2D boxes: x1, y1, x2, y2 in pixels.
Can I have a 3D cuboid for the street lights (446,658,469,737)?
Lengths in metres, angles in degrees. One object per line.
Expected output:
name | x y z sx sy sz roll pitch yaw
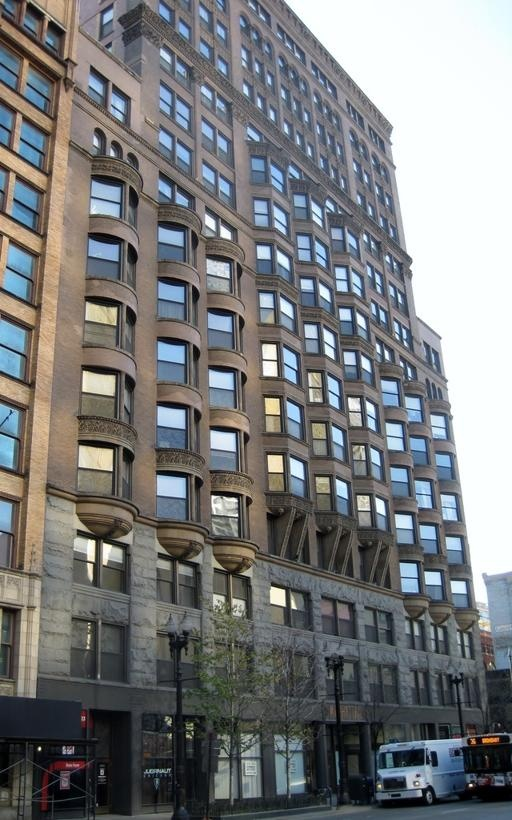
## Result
street lights | 12.795 18.296 49.419 0.947 2.432 0.972 0 -24 -5

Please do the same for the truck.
truck | 6.694 14.623 31.630 1.375 1.266 3.059 -23 -38 25
